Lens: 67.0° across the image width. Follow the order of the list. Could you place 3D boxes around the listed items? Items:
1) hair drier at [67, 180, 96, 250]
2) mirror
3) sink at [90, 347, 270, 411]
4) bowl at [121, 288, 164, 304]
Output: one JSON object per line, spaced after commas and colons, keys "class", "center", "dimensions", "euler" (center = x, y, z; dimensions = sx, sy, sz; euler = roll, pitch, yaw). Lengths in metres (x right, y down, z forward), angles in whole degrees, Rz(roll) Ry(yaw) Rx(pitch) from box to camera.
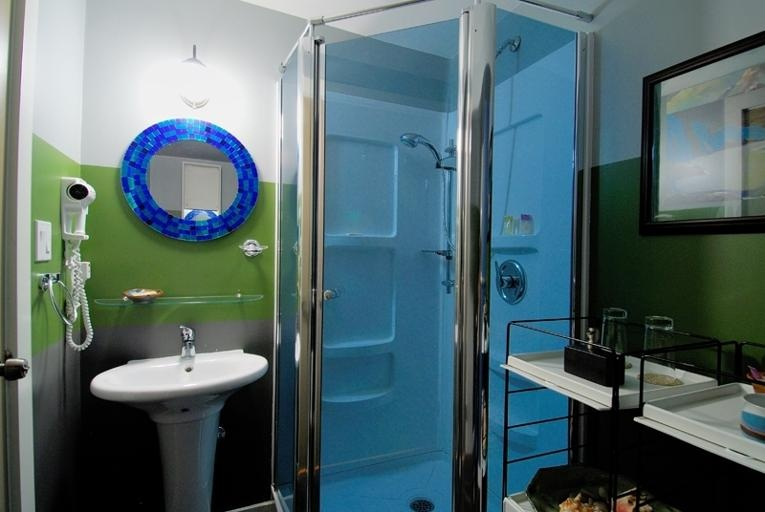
{"class": "hair drier", "center": [-1.513, -0.208, 2.876], "dimensions": [0.133, 0.377, 0.141], "euler": [-2, 1, 30]}
{"class": "mirror", "center": [-1.101, -0.420, 3.176], "dimensions": [0.646, 0.660, 0.013], "euler": [-6, 1, -20]}
{"class": "sink", "center": [-1.012, 0.605, 2.957], "dimensions": [0.816, 0.251, 0.505], "euler": [-3, 1, -17]}
{"class": "bowl", "center": [-1.265, 0.206, 3.055], "dimensions": [0.200, 0.078, 0.126], "euler": [-3, 1, -21]}
